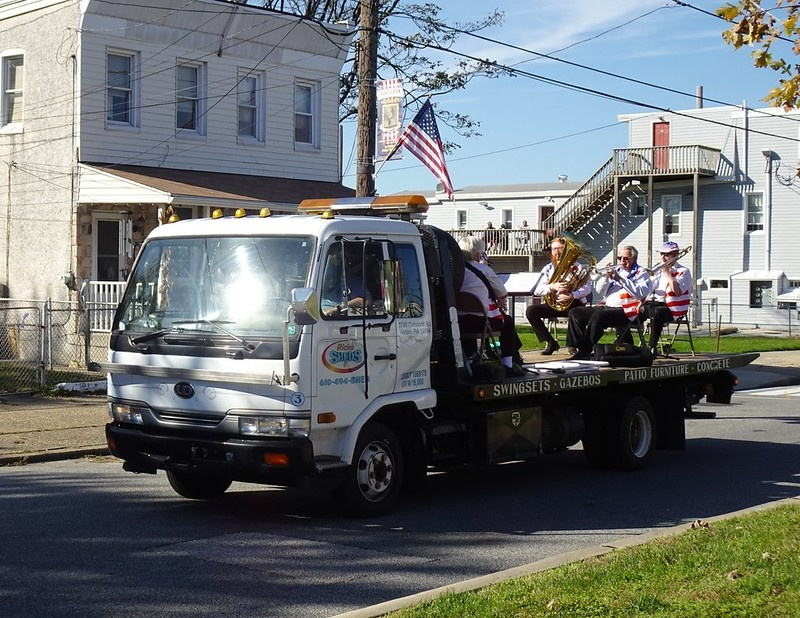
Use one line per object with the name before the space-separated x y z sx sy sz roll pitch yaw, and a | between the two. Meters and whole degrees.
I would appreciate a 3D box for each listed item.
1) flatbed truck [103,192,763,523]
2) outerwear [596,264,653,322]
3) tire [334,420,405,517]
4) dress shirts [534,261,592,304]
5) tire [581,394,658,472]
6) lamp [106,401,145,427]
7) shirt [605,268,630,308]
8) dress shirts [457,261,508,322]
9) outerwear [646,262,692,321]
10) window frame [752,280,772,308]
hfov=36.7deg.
flatbed truck | 0.428 0.509 14.919 3.110 3.092 7.392 -4 -4 45
outerwear | 2.907 -0.323 16.659 0.515 0.581 0.878 19 0 19
tire | -0.369 1.700 12.789 0.456 1.079 1.100 -2 -3 35
dress shirts | 2.100 -0.302 16.483 0.559 0.660 0.249 5 0 33
tire | 2.758 1.597 15.496 0.955 0.935 0.399 -6 10 -31
lamp | -2.925 1.142 12.977 0.234 0.132 0.321 5 -10 37
shirt | 2.944 -0.268 16.582 0.408 0.522 0.445 -5 -8 20
dress shirts | 0.981 -0.195 14.343 0.490 0.625 0.680 -1 -35 7
outerwear | 3.688 -0.217 16.812 0.483 0.796 0.743 10 -11 -33
window frame | 13.640 -0.516 45.882 0.145 1.111 1.024 2 -3 -38
